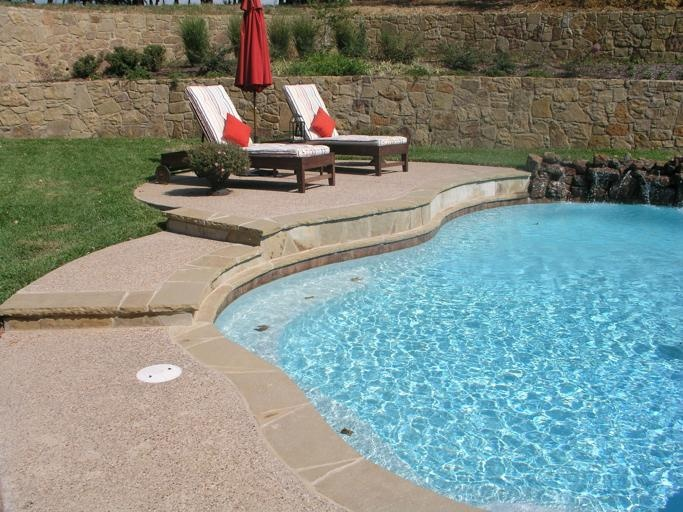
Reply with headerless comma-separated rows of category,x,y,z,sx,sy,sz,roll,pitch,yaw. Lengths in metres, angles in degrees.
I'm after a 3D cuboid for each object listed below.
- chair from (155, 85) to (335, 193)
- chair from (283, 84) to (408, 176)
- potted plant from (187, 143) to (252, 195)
chair,-1.199,-1.846,9.583,2.915,1.415,1.741,9,22,19
chair,0.161,-2.355,11.060,2.813,1.595,1.462,11,27,24
potted plant,-1.775,-1.239,8.668,0.883,0.611,0.793,6,10,22
